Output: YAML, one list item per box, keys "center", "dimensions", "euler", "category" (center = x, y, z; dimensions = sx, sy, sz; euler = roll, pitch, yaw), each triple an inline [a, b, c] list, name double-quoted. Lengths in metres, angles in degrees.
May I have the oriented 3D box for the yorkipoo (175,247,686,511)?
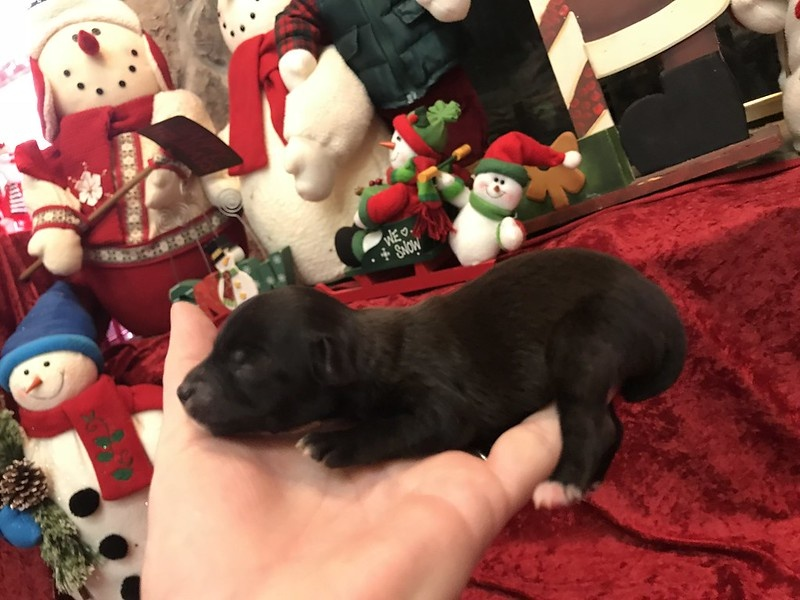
- center: [0.068, 0.127, 1.104]
  dimensions: [0.691, 0.391, 0.352]
  euler: [-8, -6, -4]
  category: "yorkipoo"

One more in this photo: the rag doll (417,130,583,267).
- center: [0.200, -0.199, 1.475]
  dimensions: [0.127, 0.230, 0.169]
  euler: [-29, 56, -38]
  category: "rag doll"

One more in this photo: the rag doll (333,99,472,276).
- center: [0.007, -0.250, 1.605]
  dimensions: [0.254, 0.364, 0.292]
  euler: [9, 21, 28]
  category: "rag doll"
